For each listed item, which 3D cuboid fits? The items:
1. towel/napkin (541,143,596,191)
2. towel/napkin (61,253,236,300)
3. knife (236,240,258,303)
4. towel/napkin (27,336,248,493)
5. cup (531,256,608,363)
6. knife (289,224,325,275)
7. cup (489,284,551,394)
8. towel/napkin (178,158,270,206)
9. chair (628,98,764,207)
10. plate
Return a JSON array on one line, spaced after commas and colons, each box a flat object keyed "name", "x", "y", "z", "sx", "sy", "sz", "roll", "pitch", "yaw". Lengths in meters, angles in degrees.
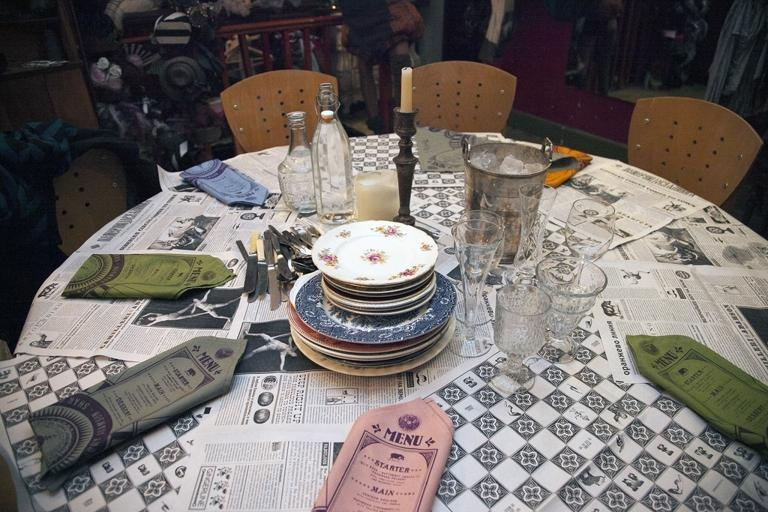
[{"name": "towel/napkin", "x": 0.716, "y": -0.317, "z": 1.890, "sx": 0.033, "sy": 0.129, "sz": 0.205, "roll": 29, "pitch": 24, "yaw": 28}, {"name": "towel/napkin", "x": -0.658, "y": 0.053, "z": 1.439, "sx": 0.333, "sy": 0.036, "sz": 0.181, "roll": 1, "pitch": 31, "yaw": -5}, {"name": "knife", "x": -0.378, "y": 0.022, "z": 1.457, "sx": 0.061, "sy": 0.014, "sz": 0.204, "roll": -10, "pitch": 49, "yaw": -16}, {"name": "towel/napkin", "x": -0.531, "y": 0.352, "z": 1.187, "sx": 0.426, "sy": 0.058, "sz": 0.222, "roll": -28, "pitch": 41, "yaw": -20}, {"name": "cup", "x": 0.474, "y": 0.141, "z": 1.283, "sx": 0.181, "sy": 0.224, "sz": 0.172, "roll": 6, "pitch": -1, "yaw": 0}, {"name": "knife", "x": -0.230, "y": -0.022, "z": 1.527, "sx": 0.054, "sy": 0.054, "sz": 0.251, "roll": -3, "pitch": 30, "yaw": -8}, {"name": "cup", "x": 0.311, "y": 0.180, "z": 1.177, "sx": 0.122, "sy": 0.221, "sz": 0.180, "roll": 11, "pitch": 38, "yaw": 19}, {"name": "towel/napkin", "x": -0.555, "y": -0.253, "z": 1.797, "sx": 0.288, "sy": 0.041, "sz": 0.168, "roll": 25, "pitch": 42, "yaw": 30}, {"name": "chair", "x": 1.174, "y": -0.386, "z": 1.936, "sx": 0.361, "sy": 0.457, "sz": 0.313, "roll": 40, "pitch": 86, "yaw": 28}, {"name": "plate", "x": -0.030, "y": 0.145, "z": 1.268, "sx": 0.371, "sy": 0.135, "sz": 0.371, "roll": 18, "pitch": 41, "yaw": 23}]
